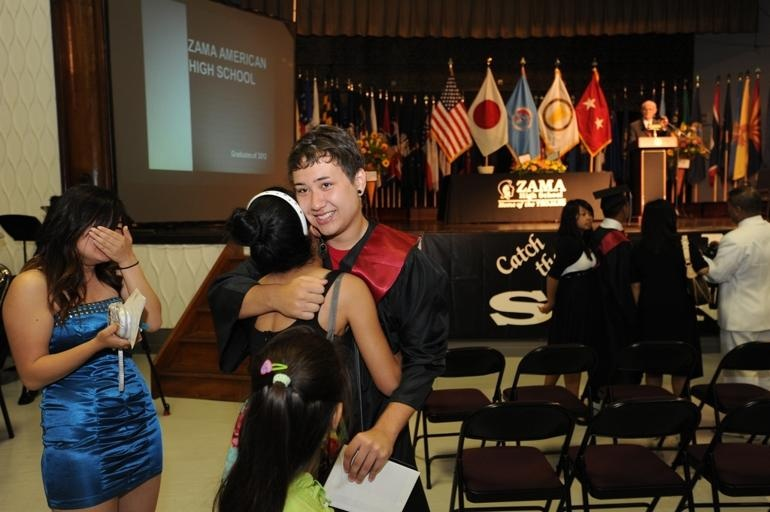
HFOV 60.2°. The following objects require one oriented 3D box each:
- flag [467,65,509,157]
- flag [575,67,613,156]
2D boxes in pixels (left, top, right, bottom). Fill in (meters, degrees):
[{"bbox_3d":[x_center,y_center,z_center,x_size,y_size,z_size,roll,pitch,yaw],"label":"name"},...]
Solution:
[{"bbox_3d":[1.496,-2.080,9.441,0.561,1.298,0.594,-4,9,-23],"label":"flag"},{"bbox_3d":[3.049,-2.110,9.756,0.487,1.265,0.521,3,8,20],"label":"flag"}]
